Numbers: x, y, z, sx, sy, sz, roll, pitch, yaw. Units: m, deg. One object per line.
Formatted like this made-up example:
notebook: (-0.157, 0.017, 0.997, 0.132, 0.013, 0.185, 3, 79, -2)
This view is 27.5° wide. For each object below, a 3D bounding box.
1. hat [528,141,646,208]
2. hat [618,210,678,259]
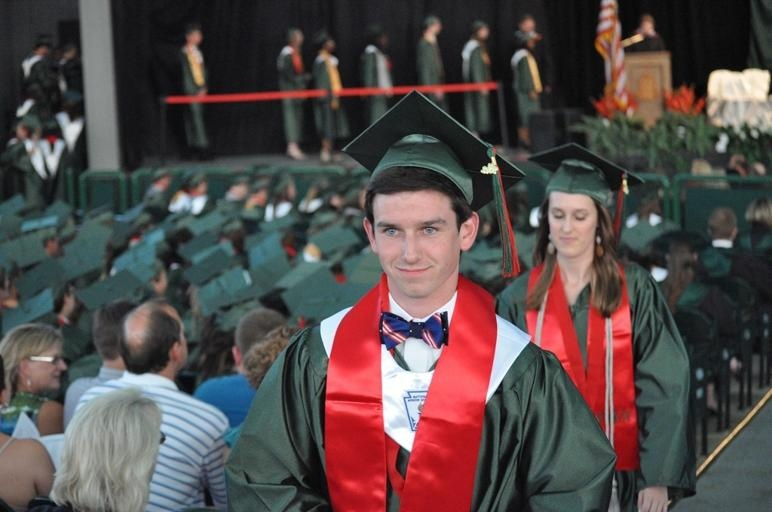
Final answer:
hat: (1.901, -0.726, 15.032, 0.705, 0.366, 0.855, 31, -20, -12)
hat: (2.961, -0.238, 17.763, 0.522, 0.475, 0.208, 17, -15, 37)
